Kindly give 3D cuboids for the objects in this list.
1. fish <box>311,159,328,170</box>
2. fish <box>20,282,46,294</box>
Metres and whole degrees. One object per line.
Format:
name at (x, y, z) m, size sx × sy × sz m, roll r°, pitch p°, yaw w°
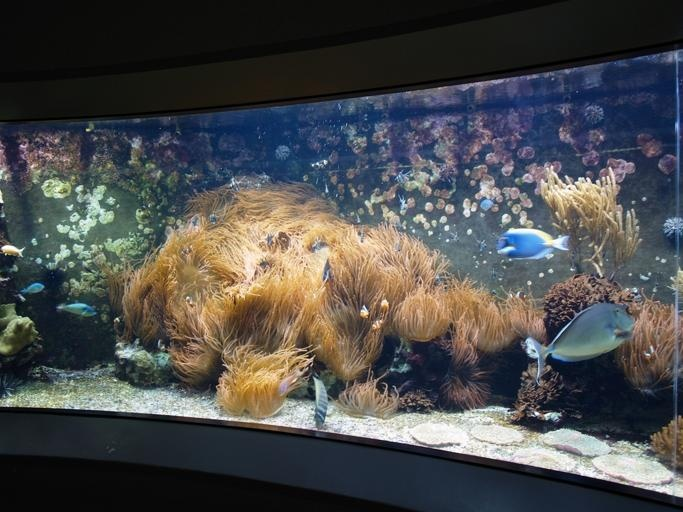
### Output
fish at (-0.283, -1.135, 7.770) m, size 0.162 × 0.115 × 0.047 m, roll -5°, pitch -8°, yaw 13°
fish at (-3.906, 0.412, 7.939) m, size 0.291 × 0.139 × 0.098 m, roll -4°, pitch 9°, yaw 5°
